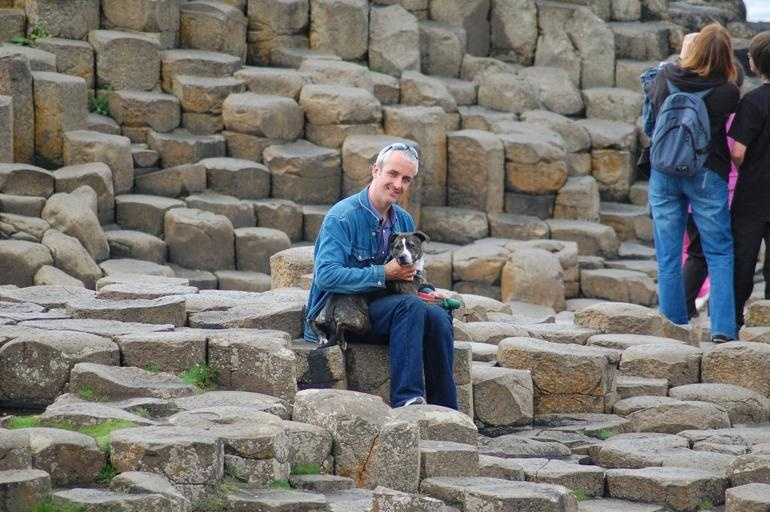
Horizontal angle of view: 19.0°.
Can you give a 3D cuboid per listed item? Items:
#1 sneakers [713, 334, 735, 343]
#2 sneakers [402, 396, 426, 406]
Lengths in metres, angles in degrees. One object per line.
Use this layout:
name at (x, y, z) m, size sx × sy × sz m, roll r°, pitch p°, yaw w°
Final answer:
sneakers at (4.162, 1.031, 28.459) m, size 0.282 × 0.112 × 0.093 m, roll -2°, pitch 3°, yaw -10°
sneakers at (0.344, 1.680, 26.776) m, size 0.293 × 0.118 × 0.100 m, roll 0°, pitch -11°, yaw -6°
